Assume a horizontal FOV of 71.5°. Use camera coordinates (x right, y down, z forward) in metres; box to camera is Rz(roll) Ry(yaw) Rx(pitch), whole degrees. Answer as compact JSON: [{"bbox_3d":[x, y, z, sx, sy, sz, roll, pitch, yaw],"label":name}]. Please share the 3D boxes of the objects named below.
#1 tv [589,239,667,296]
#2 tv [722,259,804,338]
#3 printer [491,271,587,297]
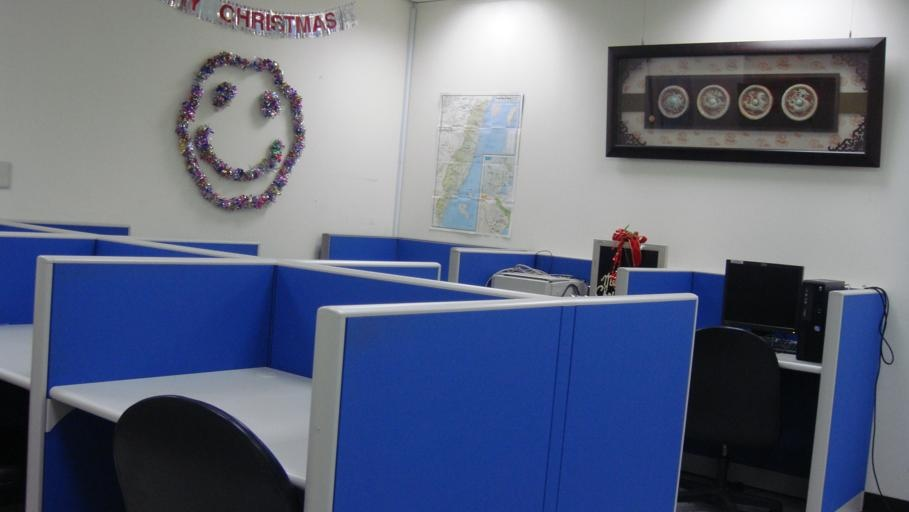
[{"bbox_3d":[1.258,0.090,4.576,0.447,0.323,0.046,2,-1,21],"label":"tv"},{"bbox_3d":[2.224,0.330,4.553,0.527,0.503,0.183,5,-3,20],"label":"tv"},{"bbox_3d":[0.731,0.223,4.948,0.346,0.134,0.348,2,2,-44],"label":"printer"}]
